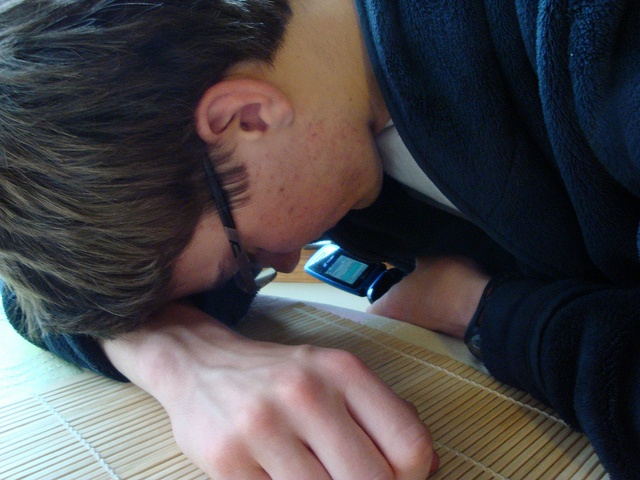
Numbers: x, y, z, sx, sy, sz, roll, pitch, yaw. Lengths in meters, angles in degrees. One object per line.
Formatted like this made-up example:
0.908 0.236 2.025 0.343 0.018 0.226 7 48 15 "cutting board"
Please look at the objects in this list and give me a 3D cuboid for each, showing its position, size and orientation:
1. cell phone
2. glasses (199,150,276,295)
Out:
0.088 0.080 1.197 0.239 0.125 0.063 19 -36 25 "cell phone"
-0.092 -0.025 0.773 0.042 0.163 0.145 -21 -3 -29 "glasses"
